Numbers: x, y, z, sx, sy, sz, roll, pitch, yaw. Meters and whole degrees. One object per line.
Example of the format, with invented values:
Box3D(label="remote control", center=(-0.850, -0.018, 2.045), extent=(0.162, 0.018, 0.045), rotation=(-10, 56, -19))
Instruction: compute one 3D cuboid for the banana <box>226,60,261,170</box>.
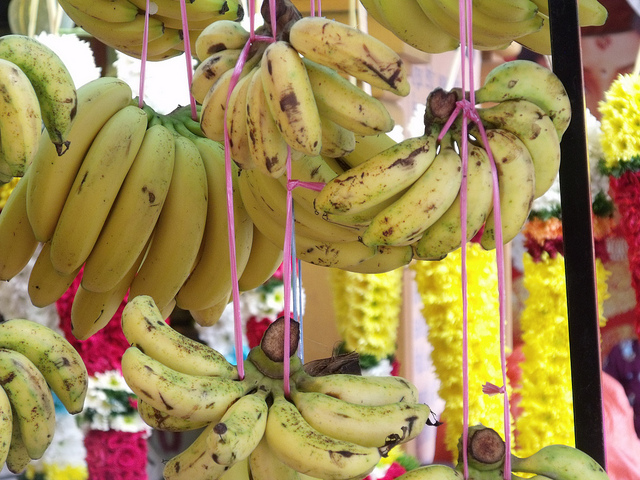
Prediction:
Box3D(label="banana", center=(-0.129, -0.213, 1.587), extent=(0.048, 0.204, 0.065), rotation=(5, -3, -33))

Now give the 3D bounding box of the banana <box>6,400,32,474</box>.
Box3D(label="banana", center=(-0.578, 0.392, 1.707), extent=(0.037, 0.166, 0.044), rotation=(1, 8, 29))

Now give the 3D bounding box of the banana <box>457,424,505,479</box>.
Box3D(label="banana", center=(0.282, 0.375, 1.541), extent=(0.081, 0.124, 0.037), rotation=(0, 8, 3))

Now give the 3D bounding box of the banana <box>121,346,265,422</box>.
Box3D(label="banana", center=(-0.222, 0.263, 1.522), extent=(0.269, 0.107, 0.079), rotation=(13, -19, -5))

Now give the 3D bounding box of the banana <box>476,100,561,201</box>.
Box3D(label="banana", center=(0.369, -0.173, 1.639), extent=(0.125, 0.146, 0.047), rotation=(-37, 5, -8))

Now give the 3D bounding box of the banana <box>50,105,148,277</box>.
Box3D(label="banana", center=(-0.421, -0.100, 1.673), extent=(0.095, 0.446, 0.105), rotation=(20, -15, -27))

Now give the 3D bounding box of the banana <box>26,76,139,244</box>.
Box3D(label="banana", center=(-0.480, -0.159, 1.751), extent=(0.112, 0.415, 0.129), rotation=(10, -17, 48))

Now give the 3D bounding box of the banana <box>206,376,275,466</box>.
Box3D(label="banana", center=(-0.127, 0.308, 1.524), extent=(0.054, 0.179, 0.083), rotation=(17, -51, 13))

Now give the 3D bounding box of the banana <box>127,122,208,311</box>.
Box3D(label="banana", center=(-0.307, 0.034, 1.790), extent=(0.081, 0.366, 0.174), rotation=(15, 22, -20))

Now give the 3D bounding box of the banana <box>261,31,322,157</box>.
Box3D(label="banana", center=(-0.068, -0.253, 1.529), extent=(0.076, 0.246, 0.072), rotation=(3, -23, -30))

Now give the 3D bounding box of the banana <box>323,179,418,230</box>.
Box3D(label="banana", center=(0.094, -0.043, 1.574), extent=(0.176, 0.048, 0.064), rotation=(0, 17, 22))

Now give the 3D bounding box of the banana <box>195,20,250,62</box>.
Box3D(label="banana", center=(-0.181, -0.371, 1.654), extent=(0.081, 0.071, 0.049), rotation=(-20, -11, 5))

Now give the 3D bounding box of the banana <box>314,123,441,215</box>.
Box3D(label="banana", center=(0.120, -0.111, 1.562), extent=(0.080, 0.281, 0.095), rotation=(42, -20, 47))

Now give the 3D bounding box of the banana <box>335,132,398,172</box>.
Box3D(label="banana", center=(0.085, -0.160, 1.601), extent=(0.104, 0.038, 0.029), rotation=(-28, -8, -13))

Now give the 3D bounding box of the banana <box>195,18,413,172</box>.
Box3D(label="banana", center=(-0.019, -0.235, 1.577), extent=(0.354, 0.244, 0.234), rotation=(-1, -16, 2))

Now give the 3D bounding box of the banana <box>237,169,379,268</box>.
Box3D(label="banana", center=(-0.015, -0.046, 1.632), extent=(0.299, 0.112, 0.061), rotation=(27, -6, -13))

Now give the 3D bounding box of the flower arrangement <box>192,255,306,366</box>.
Box3D(label="flower arrangement", center=(-0.206, 0.318, 2.698), extent=(0.309, 0.402, 0.136), rotation=(13, 17, -28))

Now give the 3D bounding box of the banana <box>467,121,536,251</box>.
Box3D(label="banana", center=(0.336, -0.113, 1.597), extent=(0.103, 0.067, 0.249), rotation=(-21, -49, -3))

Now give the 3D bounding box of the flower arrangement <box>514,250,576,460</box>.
Box3D(label="flower arrangement", center=(0.730, 0.384, 2.888), extent=(0.185, 0.620, 0.335), rotation=(-1, -23, 15))

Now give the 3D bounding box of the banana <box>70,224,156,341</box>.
Box3D(label="banana", center=(-0.397, 0.074, 1.701), extent=(0.057, 0.226, 0.070), rotation=(32, 5, 20))

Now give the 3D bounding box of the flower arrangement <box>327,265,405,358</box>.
Box3D(label="flower arrangement", center=(0.144, 0.227, 2.788), extent=(0.192, 0.360, 0.208), rotation=(-10, -10, 1))

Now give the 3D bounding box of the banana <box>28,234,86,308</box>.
Box3D(label="banana", center=(-0.544, 0.101, 1.854), extent=(0.100, 0.075, 0.200), rotation=(33, -24, -3))
